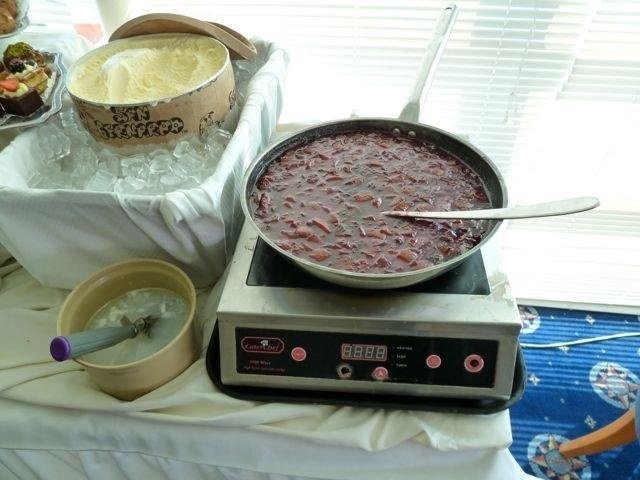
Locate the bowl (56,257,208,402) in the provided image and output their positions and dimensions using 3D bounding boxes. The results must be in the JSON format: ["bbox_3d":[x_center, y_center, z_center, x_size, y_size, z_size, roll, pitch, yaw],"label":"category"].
[{"bbox_3d":[-0.469,0.222,1.311,0.383,0.208,0.353,-2,48,2],"label":"bowl"}]
